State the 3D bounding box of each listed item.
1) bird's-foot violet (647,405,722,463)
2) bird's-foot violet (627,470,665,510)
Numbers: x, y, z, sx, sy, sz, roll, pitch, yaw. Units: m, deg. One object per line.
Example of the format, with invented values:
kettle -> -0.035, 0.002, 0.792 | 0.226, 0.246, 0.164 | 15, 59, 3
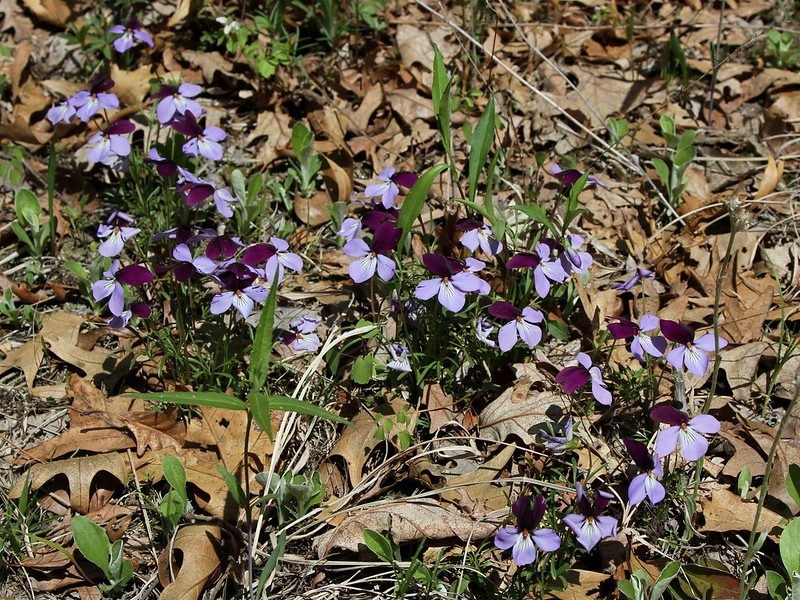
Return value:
bird's-foot violet -> 1.224, 0.582, 3.443 | 0.257, 0.074, 0.287 | -28, 83, -15
bird's-foot violet -> 1.045, 0.811, 3.376 | 0.146, 0.093, 0.116 | -5, 59, -14
